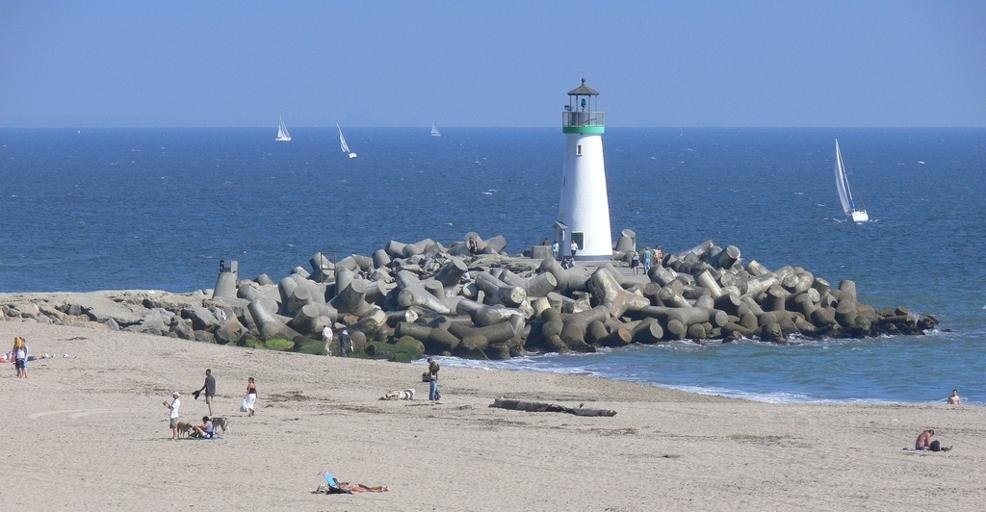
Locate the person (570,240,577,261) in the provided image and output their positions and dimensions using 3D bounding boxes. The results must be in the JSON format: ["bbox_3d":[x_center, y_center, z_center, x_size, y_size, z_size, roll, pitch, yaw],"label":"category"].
[{"bbox_3d":[6.220,-0.480,97.569,0.666,1.491,0.264,0,-4,2],"label":"person"}]

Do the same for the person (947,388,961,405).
[{"bbox_3d":[29.215,9.001,80.648,0.927,1.067,0.505,8,19,24],"label":"person"}]

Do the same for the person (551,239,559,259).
[{"bbox_3d":[4.838,-0.485,98.099,0.391,1.370,0.639,-3,-5,41],"label":"person"}]

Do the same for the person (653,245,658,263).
[{"bbox_3d":[12.382,-0.072,96.012,0.660,1.294,1.310,0,-4,6],"label":"person"}]

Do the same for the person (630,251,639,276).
[{"bbox_3d":[10.530,0.574,94.698,0.579,1.733,1.552,0,-4,6],"label":"person"}]

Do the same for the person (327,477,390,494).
[{"bbox_3d":[-7.435,12.563,69.151,3.179,0.679,0.629,0,-4,-6],"label":"person"}]

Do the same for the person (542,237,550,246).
[{"bbox_3d":[4.098,-1.084,100.566,0.782,0.821,0.681,2,3,9],"label":"person"}]
